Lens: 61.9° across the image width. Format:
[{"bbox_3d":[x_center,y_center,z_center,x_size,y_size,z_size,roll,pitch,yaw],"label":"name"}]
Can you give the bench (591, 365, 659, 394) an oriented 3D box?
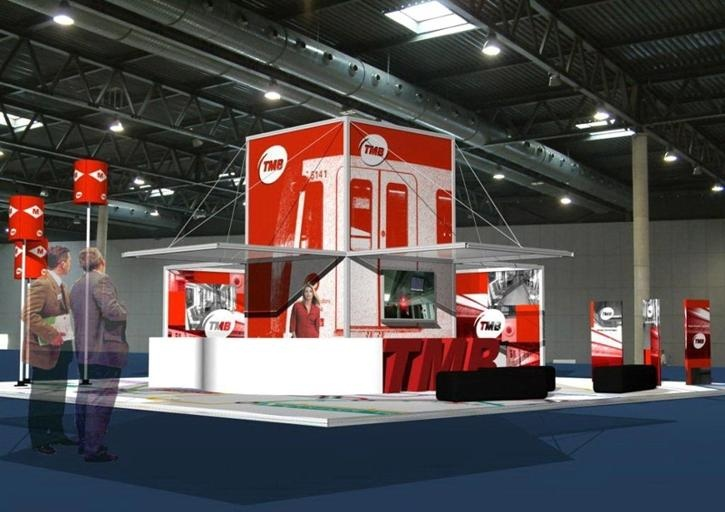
[{"bbox_3d":[4.760,2.226,10.984,1.266,0.514,0.442,1,-3,-28],"label":"bench"}]
